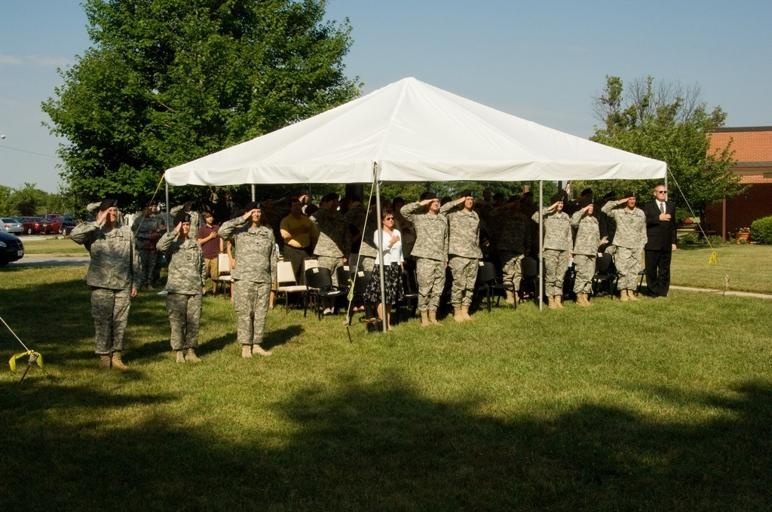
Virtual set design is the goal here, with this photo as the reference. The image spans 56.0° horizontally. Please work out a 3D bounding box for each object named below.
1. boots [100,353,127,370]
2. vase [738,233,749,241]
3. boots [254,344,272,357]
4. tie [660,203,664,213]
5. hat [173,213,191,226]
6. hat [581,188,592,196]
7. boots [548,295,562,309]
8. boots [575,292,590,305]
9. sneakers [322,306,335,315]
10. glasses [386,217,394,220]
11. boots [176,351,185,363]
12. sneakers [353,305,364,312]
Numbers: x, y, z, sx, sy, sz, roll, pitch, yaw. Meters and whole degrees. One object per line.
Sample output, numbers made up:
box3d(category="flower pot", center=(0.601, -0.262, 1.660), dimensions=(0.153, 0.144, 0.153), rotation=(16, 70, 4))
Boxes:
box3d(category="boots", center=(-4.346, 1.666, 11.607), dimensions=(0.390, 0.235, 0.530), rotation=(0, 1, -25))
box3d(category="vase", center=(18.315, -0.981, 37.274), dimensions=(0.403, 0.297, 0.395), rotation=(-1, 2, -17))
box3d(category="boots", center=(-2.031, 1.583, 12.159), dimensions=(0.371, 0.260, 0.140), rotation=(3, 4, 2))
box3d(category="tie", center=(6.112, -1.057, 16.168), dimensions=(0.030, 0.263, 0.079), rotation=(-30, -57, 36))
box3d(category="hat", center=(-3.319, -0.592, 11.835), dimensions=(0.330, 0.130, 0.360), rotation=(-2, 0, -22))
box3d(category="hat", center=(4.513, -1.427, 16.306), dimensions=(0.245, 0.213, 0.241), rotation=(3, 8, 6))
box3d(category="boots", center=(3.525, 0.970, 15.237), dimensions=(0.235, 0.265, 0.275), rotation=(1, -4, -23))
box3d(category="boots", center=(4.232, 0.932, 15.534), dimensions=(0.176, 0.346, 0.359), rotation=(-1, -4, -12))
box3d(category="sneakers", center=(-1.195, 1.129, 15.039), dimensions=(0.174, 0.130, 0.272), rotation=(1, -2, -17))
box3d(category="glasses", center=(0.053, -0.684, 13.324), dimensions=(0.072, 0.034, 0.074), rotation=(4, -4, -28))
box3d(category="boots", center=(-3.321, 1.635, 11.785), dimensions=(0.172, 0.183, 0.166), rotation=(1, 4, -2))
box3d(category="sneakers", center=(-0.580, 1.104, 15.242), dimensions=(0.206, 0.081, 0.214), rotation=(2, -4, -4))
